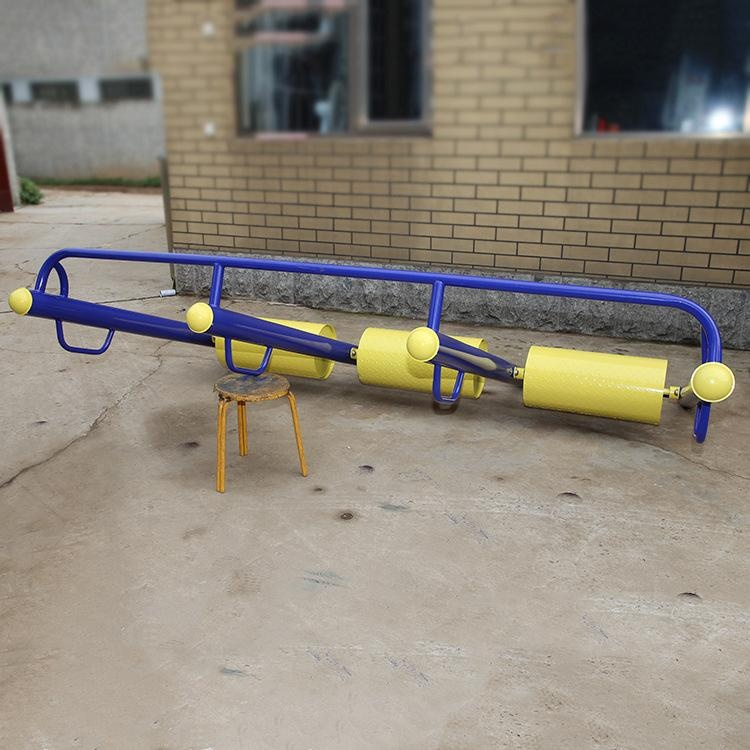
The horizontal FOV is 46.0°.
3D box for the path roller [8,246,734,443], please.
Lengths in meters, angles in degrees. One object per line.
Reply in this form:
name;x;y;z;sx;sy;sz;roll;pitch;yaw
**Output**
path roller;0.031;-0.135;3.994;2.901;0.755;1.243;3;16;9
